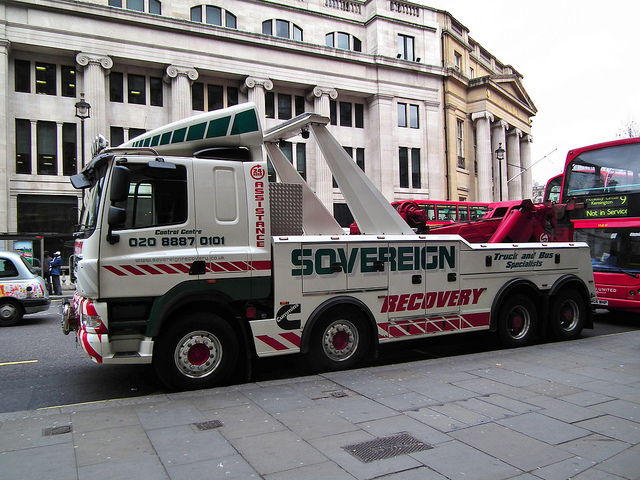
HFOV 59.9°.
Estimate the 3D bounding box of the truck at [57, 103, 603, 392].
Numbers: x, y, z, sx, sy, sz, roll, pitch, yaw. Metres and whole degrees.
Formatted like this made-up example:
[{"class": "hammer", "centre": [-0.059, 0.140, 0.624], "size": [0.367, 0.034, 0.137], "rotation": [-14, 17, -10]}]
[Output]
[{"class": "truck", "centre": [0.806, 0.018, 12.076], "size": [11.566, 4.627, 3.543], "rotation": [0, -2, -29]}]
